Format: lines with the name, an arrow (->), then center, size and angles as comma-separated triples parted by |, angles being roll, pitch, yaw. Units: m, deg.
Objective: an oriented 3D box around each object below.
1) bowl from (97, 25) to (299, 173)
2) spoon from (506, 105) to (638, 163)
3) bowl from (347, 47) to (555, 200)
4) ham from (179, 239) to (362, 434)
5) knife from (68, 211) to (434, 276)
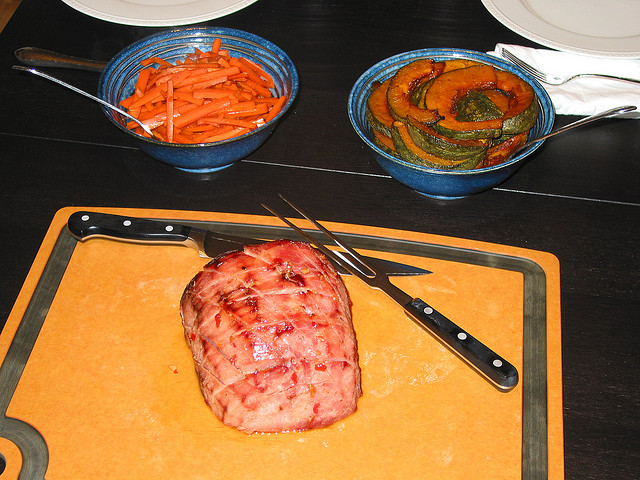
bowl -> -0.453, -0.508, 2.048 | 0.815, 0.400, 0.618 | 2, 61, 2
spoon -> 0.924, -0.386, 2.012 | 0.706, 0.075, 0.066 | -19, 68, -16
bowl -> 0.458, -0.451, 1.970 | 0.682, 0.284, 0.640 | -1, 67, 2
ham -> -0.149, 0.270, 1.578 | 0.486, 0.178, 0.569 | -12, 67, -3
knife -> -0.262, 0.019, 1.812 | 1.233, 0.050, 0.114 | 7, 65, 0
